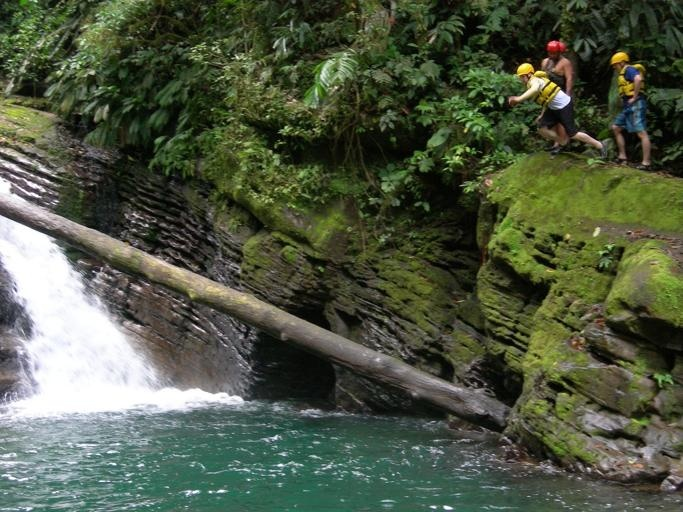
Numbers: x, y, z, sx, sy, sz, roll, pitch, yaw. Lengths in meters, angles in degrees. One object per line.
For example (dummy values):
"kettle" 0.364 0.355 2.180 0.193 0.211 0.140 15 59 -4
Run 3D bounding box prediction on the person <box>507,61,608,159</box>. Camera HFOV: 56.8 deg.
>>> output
"person" 3.255 -2.205 9.598 1.257 1.353 0.857 0 1 -4
